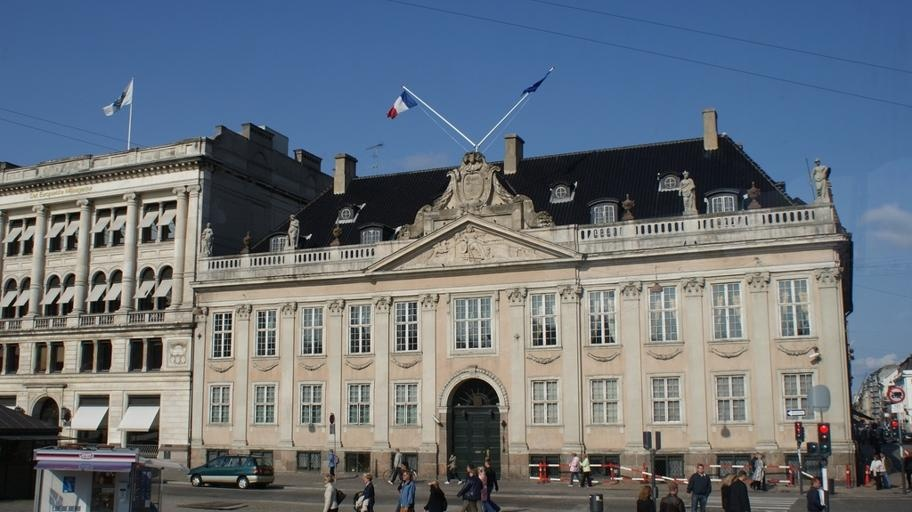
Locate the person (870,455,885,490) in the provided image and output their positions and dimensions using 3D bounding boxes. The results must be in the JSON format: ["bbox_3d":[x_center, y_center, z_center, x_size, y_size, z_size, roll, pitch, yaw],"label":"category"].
[{"bbox_3d":[34.058,17.515,103.174,0.902,2.775,1.017,-6,-18,17],"label":"person"}]

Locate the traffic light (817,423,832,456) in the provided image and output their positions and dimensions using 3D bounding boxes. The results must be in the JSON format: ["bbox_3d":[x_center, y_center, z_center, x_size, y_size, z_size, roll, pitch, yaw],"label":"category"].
[{"bbox_3d":[28.001,13.974,97.369,0.881,2.614,1.199,-3,-17,8],"label":"traffic light"}]

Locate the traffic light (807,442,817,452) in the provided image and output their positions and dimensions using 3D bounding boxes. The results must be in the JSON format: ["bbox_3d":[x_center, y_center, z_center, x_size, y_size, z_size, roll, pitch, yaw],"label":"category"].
[{"bbox_3d":[27.434,14.715,98.334,0.845,0.736,0.756,-8,-18,26],"label":"traffic light"}]
